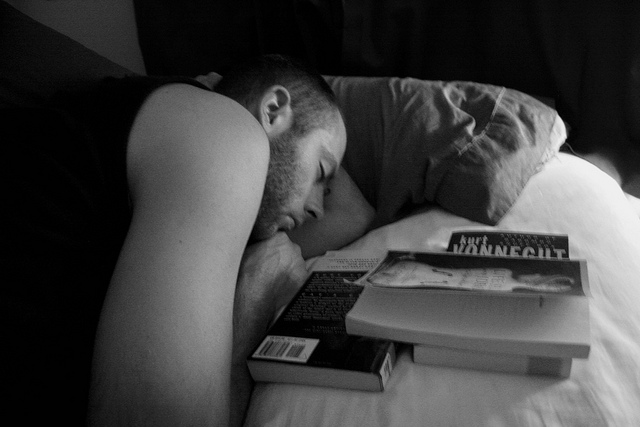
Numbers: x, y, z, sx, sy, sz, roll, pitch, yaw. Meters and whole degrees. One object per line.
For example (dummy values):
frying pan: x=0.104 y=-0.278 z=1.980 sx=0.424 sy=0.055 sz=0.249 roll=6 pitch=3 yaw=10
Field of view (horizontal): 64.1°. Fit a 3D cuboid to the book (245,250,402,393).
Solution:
book: x=0.065 y=0.227 z=1.152 sx=0.259 sy=0.074 sz=0.413 roll=-1 pitch=27 yaw=24
